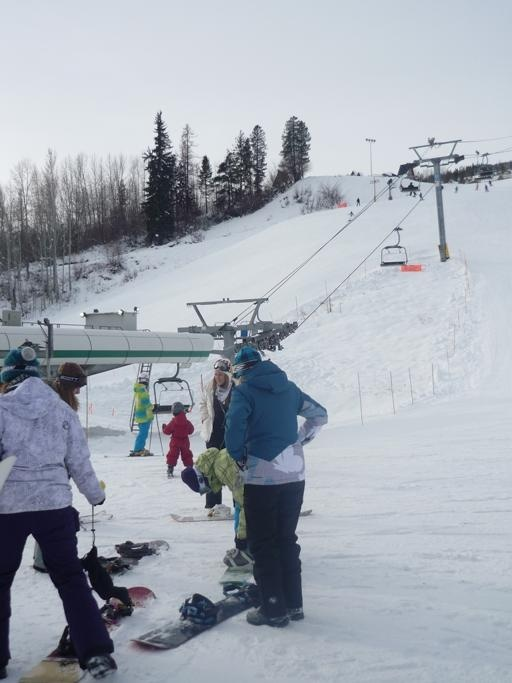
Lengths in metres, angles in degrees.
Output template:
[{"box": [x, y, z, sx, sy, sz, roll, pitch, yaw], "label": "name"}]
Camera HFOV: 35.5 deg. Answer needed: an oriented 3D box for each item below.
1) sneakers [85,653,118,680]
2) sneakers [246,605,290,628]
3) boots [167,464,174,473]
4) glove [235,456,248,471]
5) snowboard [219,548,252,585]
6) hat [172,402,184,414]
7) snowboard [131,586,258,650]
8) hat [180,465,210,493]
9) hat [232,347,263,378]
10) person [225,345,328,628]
[{"box": [-0.800, 1.691, 4.143, 0.166, 0.111, 0.062, 7, 1, -26], "label": "sneakers"}, {"box": [0.070, 1.669, 4.837, 0.224, 0.094, 0.107, 9, 0, 10], "label": "sneakers"}, {"box": [-1.103, 1.621, 10.218, 0.081, 0.104, 0.108, 1, -16, -7], "label": "boots"}, {"box": [-0.087, 0.757, 4.949, 0.067, 0.082, 0.085, 2, 13, -16], "label": "glove"}, {"box": [-0.118, 1.619, 5.690, 0.243, 0.142, 0.254, 2, -2, 8], "label": "snowboard"}, {"box": [-0.946, 0.814, 9.767, 0.153, 0.133, 0.128, -6, 14, -3], "label": "hat"}, {"box": [-0.314, 1.674, 4.887, 0.243, 0.118, 0.924, 8, 8, 30], "label": "snowboard"}, {"box": [-0.479, 1.146, 6.477, 0.214, 0.110, 0.283, 39, -5, -27], "label": "hat"}, {"box": [-0.094, 0.132, 5.279, 0.190, 0.202, 0.212, -6, 11, 11], "label": "hat"}, {"box": [0.065, 0.872, 4.983, 0.434, 1.663, 0.498, -2, 2, 9], "label": "person"}]
